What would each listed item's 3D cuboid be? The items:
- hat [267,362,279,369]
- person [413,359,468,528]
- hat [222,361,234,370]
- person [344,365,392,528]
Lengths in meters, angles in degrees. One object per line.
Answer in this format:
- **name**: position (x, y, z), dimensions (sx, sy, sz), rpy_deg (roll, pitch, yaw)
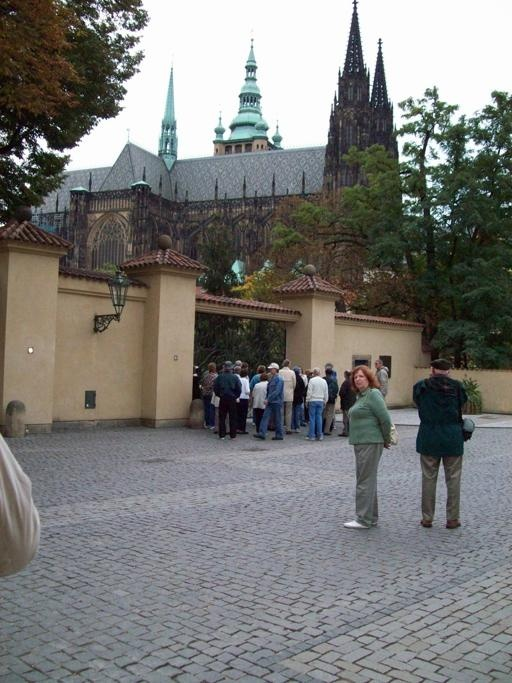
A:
- **hat**: position (0.321, 0.522, 13.939), dimensions (0.219, 0.117, 0.159), rpy_deg (25, 9, 10)
- **person**: position (1.707, 0.931, 6.529), dimensions (0.494, 1.523, 0.476), rpy_deg (1, -2, 12)
- **hat**: position (-0.558, 0.467, 13.382), dimensions (0.153, 0.110, 0.203), rpy_deg (2, 4, 4)
- **person**: position (1.051, 0.951, 6.482), dimensions (0.415, 1.434, 0.753), rpy_deg (1, -2, 9)
